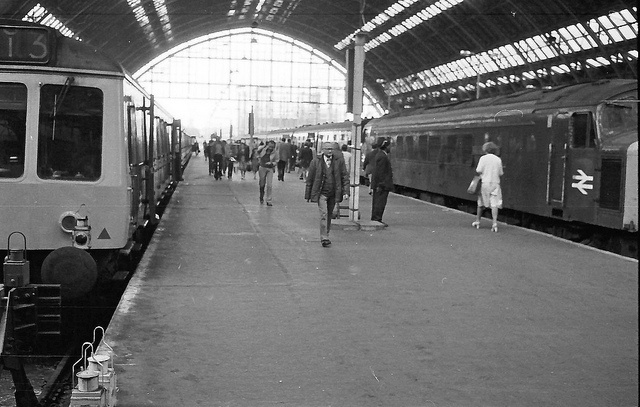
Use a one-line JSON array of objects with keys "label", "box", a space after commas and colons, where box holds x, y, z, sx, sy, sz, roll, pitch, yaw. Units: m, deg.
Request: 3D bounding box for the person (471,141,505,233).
[{"label": "person", "box": [4.691, -0.461, 16.314, 0.769, 2.458, 1.182, 1, 4, 16]}]

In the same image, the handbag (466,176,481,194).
[{"label": "handbag", "box": [4.828, -0.581, 18.286, 0.196, 0.552, 0.596, 21, 3, 10]}]

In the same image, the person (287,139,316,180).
[{"label": "person", "box": [-1.115, -2.482, 33.367, 1.024, 1.064, 3.112, -4, 18, 6]}]

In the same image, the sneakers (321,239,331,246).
[{"label": "sneakers", "box": [0.143, 0.924, 13.863, 0.210, 0.168, 0.230, -1, 5, 0]}]

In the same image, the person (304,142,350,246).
[{"label": "person", "box": [0.204, -0.264, 14.276, 0.843, 2.441, 1.192, 1, 4, 24]}]

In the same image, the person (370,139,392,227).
[{"label": "person", "box": [1.849, -0.686, 17.254, 0.601, 2.458, 0.917, 2, 15, 5]}]
